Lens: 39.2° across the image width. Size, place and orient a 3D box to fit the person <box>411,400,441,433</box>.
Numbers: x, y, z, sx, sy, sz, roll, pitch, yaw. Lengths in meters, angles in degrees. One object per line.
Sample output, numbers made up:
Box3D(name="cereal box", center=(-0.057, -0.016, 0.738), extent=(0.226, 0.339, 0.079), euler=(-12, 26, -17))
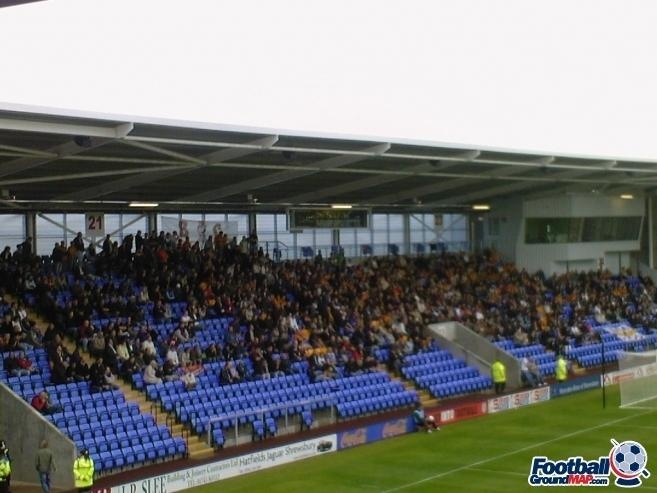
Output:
Box3D(name="person", center=(4.093, 7.374, 39.687), extent=(0.918, 1.194, 0.936), euler=(-6, -6, 19))
